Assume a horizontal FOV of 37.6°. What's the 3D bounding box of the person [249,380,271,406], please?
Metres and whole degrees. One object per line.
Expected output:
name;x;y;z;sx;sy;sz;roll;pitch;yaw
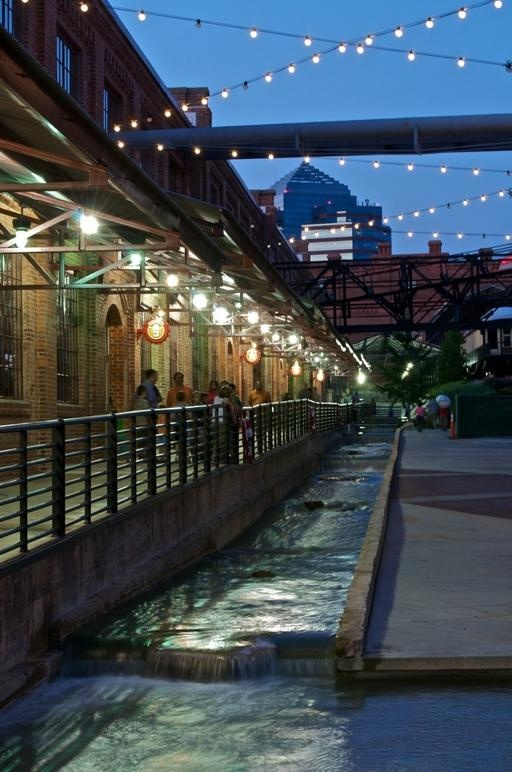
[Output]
person;0.089;0.219;22.373;0.509;0.636;1.036;-2;1;-2
